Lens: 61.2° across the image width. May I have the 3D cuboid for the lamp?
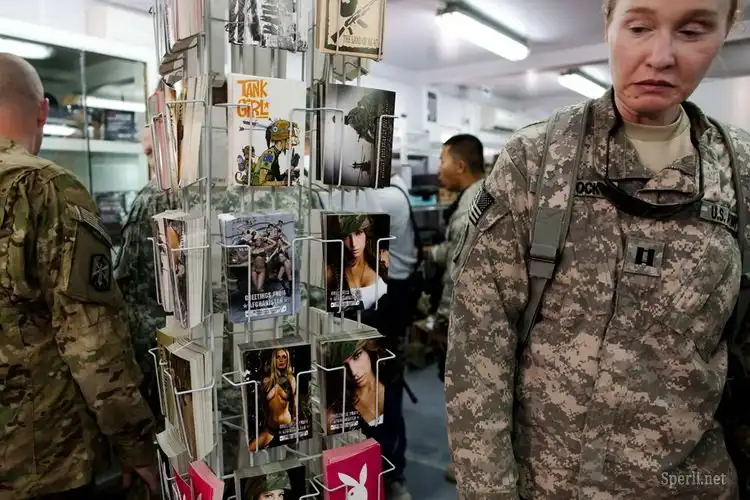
[{"bbox_3d":[1.342,-1.972,6.414,1.661,0.369,1.430,-2,2,-11],"label":"lamp"}]

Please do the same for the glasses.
[{"bbox_3d":[0.737,-0.197,1.706,0.164,0.197,0.052,1,-8,-2],"label":"glasses"}]
